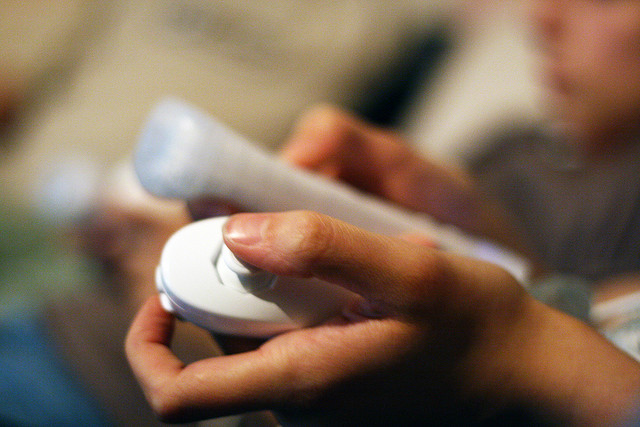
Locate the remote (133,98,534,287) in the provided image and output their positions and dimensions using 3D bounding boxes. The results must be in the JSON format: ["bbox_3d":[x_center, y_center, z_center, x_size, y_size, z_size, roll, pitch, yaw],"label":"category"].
[{"bbox_3d":[0.013,-0.031,0.894,0.508,0.104,0.102,20,23,-23],"label":"remote"}]

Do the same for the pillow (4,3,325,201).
[{"bbox_3d":[-0.274,-0.142,0.938,0.326,0.301,0.088,39,6,-12],"label":"pillow"}]
